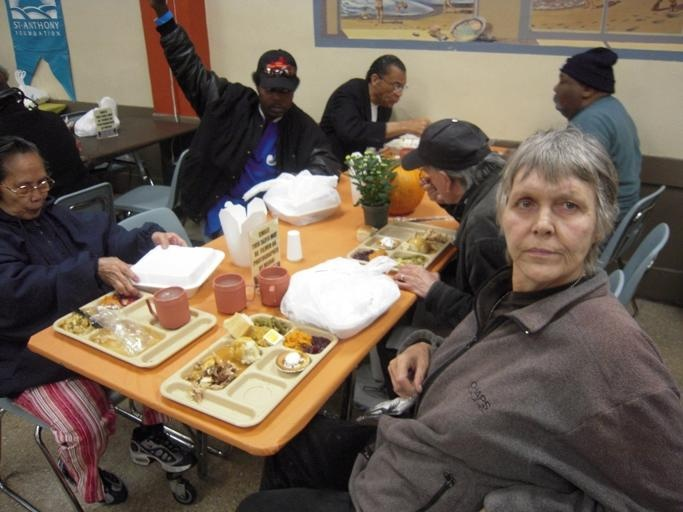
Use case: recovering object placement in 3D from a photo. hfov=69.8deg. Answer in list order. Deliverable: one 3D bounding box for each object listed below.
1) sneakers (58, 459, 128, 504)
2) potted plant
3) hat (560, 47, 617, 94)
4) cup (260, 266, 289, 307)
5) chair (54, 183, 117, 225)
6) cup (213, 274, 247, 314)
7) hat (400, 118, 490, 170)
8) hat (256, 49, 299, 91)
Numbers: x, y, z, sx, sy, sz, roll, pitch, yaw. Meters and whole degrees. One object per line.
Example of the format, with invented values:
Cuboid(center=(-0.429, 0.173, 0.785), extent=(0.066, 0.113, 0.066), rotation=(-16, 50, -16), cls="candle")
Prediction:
Cuboid(center=(-1.139, 1.034, 2.231), extent=(0.345, 0.131, 0.115), rotation=(33, 39, 12), cls="sneakers")
Cuboid(center=(0.204, -0.319, 2.559), extent=(0.337, 0.418, 0.307), rotation=(-3, 13, 14), cls="potted plant")
Cuboid(center=(1.596, -1.230, 3.273), extent=(0.352, 0.254, 0.257), rotation=(16, 34, 20), cls="hat")
Cuboid(center=(-0.277, 0.131, 2.047), extent=(0.152, 0.141, 0.148), rotation=(2, 38, -1), cls="cup")
Cuboid(center=(-1.536, -0.313, 2.926), extent=(0.232, 0.303, 0.227), rotation=(23, 33, 13), cls="chair")
Cuboid(center=(-0.438, 0.138, 2.024), extent=(0.166, 0.140, 0.126), rotation=(-14, 26, -37), cls="cup")
Cuboid(center=(0.462, -0.490, 2.227), extent=(0.348, 0.161, 0.232), rotation=(8, 47, 18), cls="hat")
Cuboid(center=(-0.407, -1.194, 3.149), extent=(0.222, 0.170, 0.300), rotation=(5, 26, -18), cls="hat")
